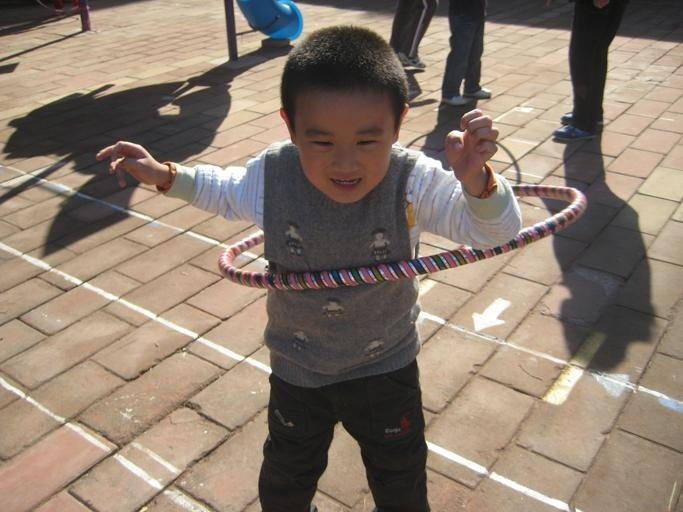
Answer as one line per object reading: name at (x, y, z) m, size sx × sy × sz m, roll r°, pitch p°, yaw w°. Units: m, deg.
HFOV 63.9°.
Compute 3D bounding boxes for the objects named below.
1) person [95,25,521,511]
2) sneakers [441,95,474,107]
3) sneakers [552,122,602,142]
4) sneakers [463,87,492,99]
person at (0.071, 0.260, 2.238) m, size 1.108 × 2.119 × 1.058 m, roll -14°, pitch 38°, yaw -12°
sneakers at (1.494, -1.997, 7.108) m, size 0.455 × 0.155 × 0.147 m, roll 3°, pitch 37°, yaw 9°
sneakers at (2.562, -1.334, 5.995) m, size 0.618 × 0.228 × 0.182 m, roll -1°, pitch 36°, yaw 2°
sneakers at (1.807, -2.138, 7.260) m, size 0.404 × 0.138 × 0.129 m, roll -1°, pitch 44°, yaw 2°
